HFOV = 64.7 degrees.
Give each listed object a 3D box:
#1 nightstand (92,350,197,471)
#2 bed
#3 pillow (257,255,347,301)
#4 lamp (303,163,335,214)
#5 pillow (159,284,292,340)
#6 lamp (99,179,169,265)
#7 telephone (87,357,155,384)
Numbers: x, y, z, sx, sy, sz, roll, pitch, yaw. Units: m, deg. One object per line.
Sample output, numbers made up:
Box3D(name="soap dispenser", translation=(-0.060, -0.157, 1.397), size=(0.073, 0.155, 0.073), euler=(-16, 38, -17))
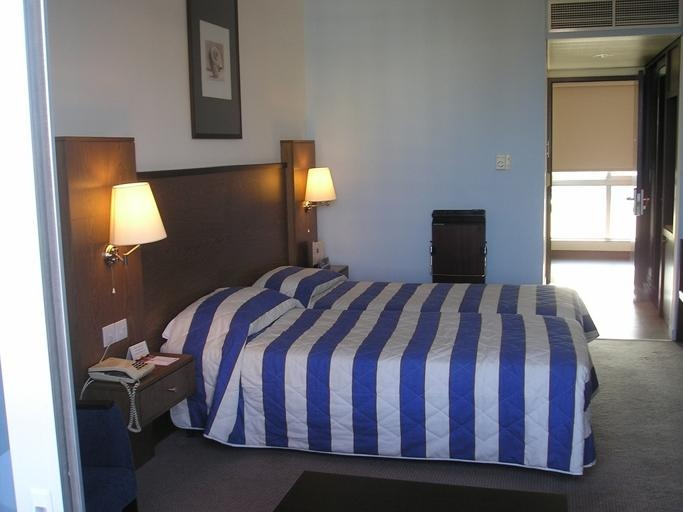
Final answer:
Box3D(name="nightstand", translation=(-1.195, 0.969, 3.233), size=(0.401, 0.697, 0.690), euler=(3, 4, 10))
Box3D(name="bed", translation=(0.273, 0.209, 3.248), size=(1.967, 0.716, 1.987), euler=(1, 16, 11))
Box3D(name="pillow", translation=(-0.399, 0.210, 4.561), size=(0.473, 0.136, 0.388), euler=(2, 18, 21))
Box3D(name="lamp", translation=(-0.237, -0.688, 5.681), size=(0.386, 0.435, 0.329), euler=(-5, 10, 13))
Box3D(name="pillow", translation=(-0.766, 0.417, 3.682), size=(0.385, 0.158, 0.539), euler=(-5, 17, 29))
Box3D(name="lamp", translation=(-1.204, -0.158, 3.113), size=(0.308, 0.510, 0.315), euler=(-1, 6, -14))
Box3D(name="telephone", translation=(-1.241, 0.635, 2.994), size=(0.328, 0.084, 0.196), euler=(-2, 11, 1))
